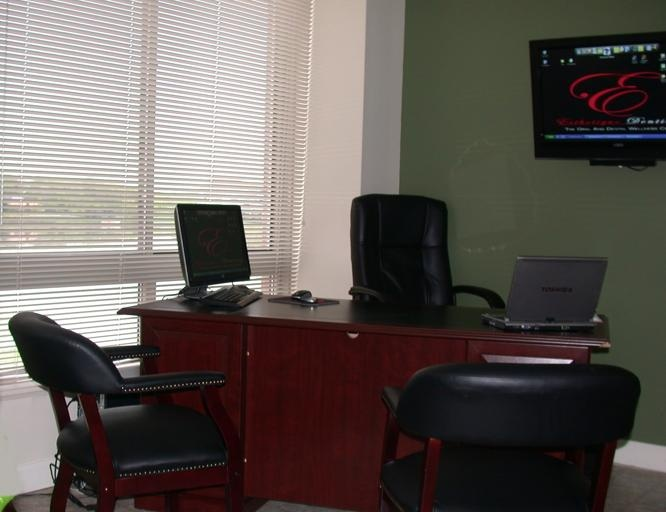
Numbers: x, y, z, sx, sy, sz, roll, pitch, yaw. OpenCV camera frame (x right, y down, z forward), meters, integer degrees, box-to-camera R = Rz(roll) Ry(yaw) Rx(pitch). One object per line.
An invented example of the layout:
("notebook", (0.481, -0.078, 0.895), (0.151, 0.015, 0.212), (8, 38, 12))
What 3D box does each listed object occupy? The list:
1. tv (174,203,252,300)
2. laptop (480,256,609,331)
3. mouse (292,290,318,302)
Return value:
("tv", (-0.568, -0.070, 2.903), (0.487, 0.464, 0.210), (1, 22, 39))
("laptop", (0.919, 0.177, 2.431), (0.551, 0.319, 0.548), (3, -5, -31))
("mouse", (-0.138, 0.207, 2.784), (0.090, 0.030, 0.065), (1, 2, 36))
